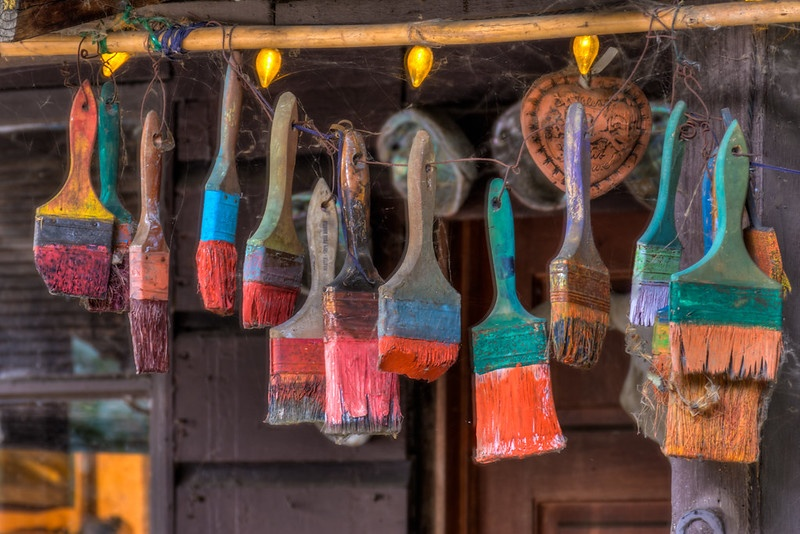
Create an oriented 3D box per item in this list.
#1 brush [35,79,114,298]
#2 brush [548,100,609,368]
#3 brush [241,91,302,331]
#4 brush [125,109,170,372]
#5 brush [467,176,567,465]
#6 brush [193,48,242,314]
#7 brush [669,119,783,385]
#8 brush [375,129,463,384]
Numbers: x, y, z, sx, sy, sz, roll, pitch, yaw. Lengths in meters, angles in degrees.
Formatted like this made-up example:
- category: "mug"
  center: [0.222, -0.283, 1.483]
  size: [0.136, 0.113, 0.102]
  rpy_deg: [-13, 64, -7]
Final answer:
- category: "brush"
  center: [-0.928, -0.221, 4.900]
  size: [0.222, 0.626, 0.084]
  rpy_deg: [0, -2, -13]
- category: "brush"
  center: [0.487, -0.088, 4.758]
  size: [0.194, 0.735, 0.071]
  rpy_deg: [1, -3, -36]
- category: "brush"
  center: [-0.371, -0.166, 4.886]
  size: [0.175, 0.672, 0.134]
  rpy_deg: [0, -2, -18]
- category: "brush"
  center: [-0.715, -0.074, 4.881]
  size: [0.108, 0.740, 0.073]
  rpy_deg: [0, -2, -13]
- category: "brush"
  center: [0.304, 0.141, 4.852]
  size: [0.283, 0.794, 0.094]
  rpy_deg: [-6, 16, -3]
- category: "brush"
  center: [-0.495, -0.243, 4.886]
  size: [0.110, 0.755, 0.172]
  rpy_deg: [-2, -3, 28]
- category: "brush"
  center: [0.881, -0.047, 4.697]
  size: [0.303, 0.715, 0.072]
  rpy_deg: [0, -2, -12]
- category: "brush"
  center: [0.043, -0.033, 4.825]
  size: [0.236, 0.705, 0.139]
  rpy_deg: [-1, -2, -10]
